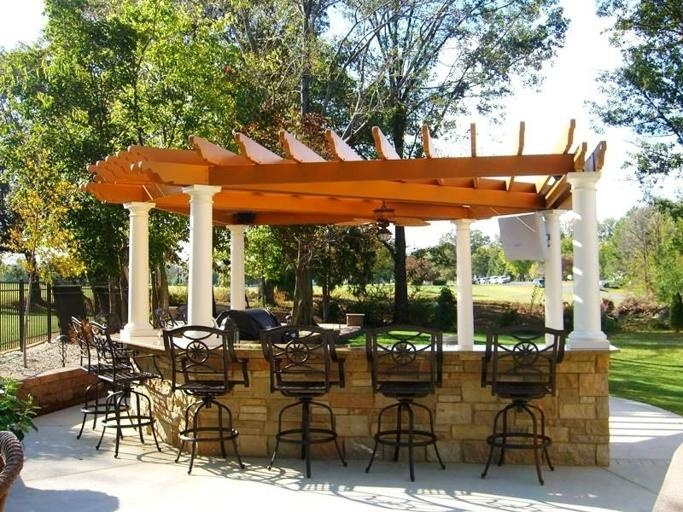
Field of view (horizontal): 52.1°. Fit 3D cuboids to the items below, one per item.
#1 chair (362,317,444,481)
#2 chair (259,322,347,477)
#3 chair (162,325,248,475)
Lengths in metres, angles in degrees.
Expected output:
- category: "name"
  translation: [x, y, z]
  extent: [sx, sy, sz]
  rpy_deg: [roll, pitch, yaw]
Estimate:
- category: "chair"
  translation: [0.869, 1.901, 9.611]
  extent: [1.132, 2.019, 0.931]
  rpy_deg: [2, 4, 3]
- category: "chair"
  translation: [-0.479, 1.885, 9.775]
  extent: [1.202, 2.013, 1.178]
  rpy_deg: [2, 4, 9]
- category: "chair"
  translation: [-1.909, 1.902, 9.796]
  extent: [1.319, 1.959, 0.947]
  rpy_deg: [4, 5, 31]
